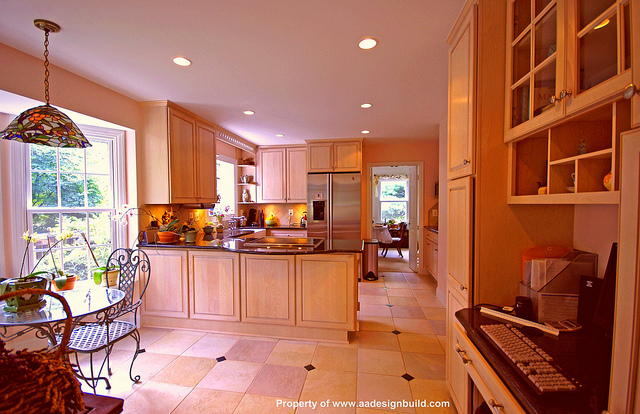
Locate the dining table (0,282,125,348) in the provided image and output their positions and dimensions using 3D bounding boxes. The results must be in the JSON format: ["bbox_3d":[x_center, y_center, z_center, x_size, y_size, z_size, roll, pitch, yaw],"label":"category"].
[{"bbox_3d":[-2.324,0.969,3.915,0.892,0.523,0.837,2,-4,5],"label":"dining table"}]

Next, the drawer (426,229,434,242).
[{"bbox_3d":[1.761,0.459,7.083,0.107,0.118,0.192,1,2,9],"label":"drawer"}]

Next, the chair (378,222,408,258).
[{"bbox_3d":[1.663,0.720,9.841,0.739,0.998,0.694,2,-2,6],"label":"chair"}]

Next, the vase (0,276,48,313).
[{"bbox_3d":[-2.456,0.732,3.645,0.402,0.315,0.285,1,-2,-7],"label":"vase"}]

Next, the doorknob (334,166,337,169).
[{"bbox_3d":[0.241,-0.640,7.084,0.030,0.028,0.016,3,8,38],"label":"doorknob"}]

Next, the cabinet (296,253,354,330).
[{"bbox_3d":[0.087,0.935,5.122,0.775,0.965,0.580,0,1,7],"label":"cabinet"}]

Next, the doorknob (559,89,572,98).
[{"bbox_3d":[1.750,-0.808,3.136,0.062,0.031,0.043,-5,42,22],"label":"doorknob"}]

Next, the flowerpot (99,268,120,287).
[{"bbox_3d":[-2.308,0.776,4.846,0.192,0.174,0.229,-4,-3,42],"label":"flowerpot"}]

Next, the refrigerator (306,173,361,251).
[{"bbox_3d":[0.195,0.122,7.395,0.842,1.446,0.500,0,14,2],"label":"refrigerator"}]

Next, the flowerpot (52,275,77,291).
[{"bbox_3d":[-2.519,0.755,4.327,0.197,0.158,0.187,-1,0,-30],"label":"flowerpot"}]

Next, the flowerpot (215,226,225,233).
[{"bbox_3d":[-1.512,0.351,6.572,0.095,0.079,0.068,-2,6,-23],"label":"flowerpot"}]

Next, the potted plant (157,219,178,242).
[{"bbox_3d":[-1.855,0.304,5.386,0.172,0.206,0.231,-4,-5,40],"label":"potted plant"}]

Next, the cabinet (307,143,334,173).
[{"bbox_3d":[0.032,-0.835,7.276,0.595,0.532,0.385,-5,15,-18],"label":"cabinet"}]

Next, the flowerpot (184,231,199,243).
[{"bbox_3d":[-1.574,0.366,5.393,0.153,0.101,0.097,0,1,19],"label":"flowerpot"}]

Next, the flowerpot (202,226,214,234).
[{"bbox_3d":[-1.534,0.318,5.986,0.132,0.103,0.128,-1,0,-17],"label":"flowerpot"}]
